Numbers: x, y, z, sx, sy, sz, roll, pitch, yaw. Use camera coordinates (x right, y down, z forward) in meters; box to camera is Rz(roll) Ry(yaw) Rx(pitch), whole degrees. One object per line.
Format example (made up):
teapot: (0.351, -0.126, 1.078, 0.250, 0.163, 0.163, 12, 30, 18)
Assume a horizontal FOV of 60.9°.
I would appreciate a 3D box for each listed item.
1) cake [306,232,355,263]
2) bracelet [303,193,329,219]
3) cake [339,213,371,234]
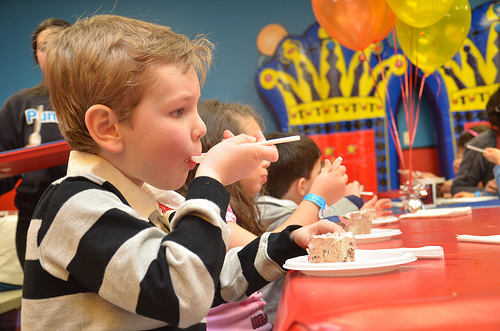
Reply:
cake: (0.191, 0.210, 1.076, 0.108, 0.070, 0.066, 1, 1, -6)
bracelet: (0.253, 0.143, 1.645, 0.084, 0.087, 0.085, 13, 34, 10)
cake: (0.370, 0.195, 1.458, 0.083, 0.060, 0.081, 0, -6, -8)
